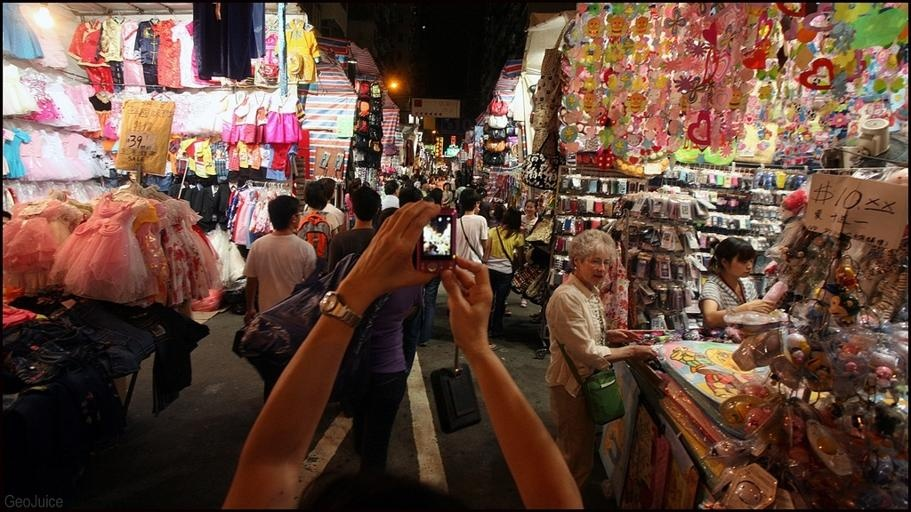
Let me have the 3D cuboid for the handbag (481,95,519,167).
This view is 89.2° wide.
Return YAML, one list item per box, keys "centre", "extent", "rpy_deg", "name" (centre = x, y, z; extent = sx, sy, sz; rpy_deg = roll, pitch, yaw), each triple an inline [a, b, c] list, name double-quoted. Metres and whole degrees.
- centre: [1.118, -3.093, 11.478]
  extent: [0.816, 1.625, 0.809]
  rpy_deg: [5, 13, 4]
  name: "handbag"

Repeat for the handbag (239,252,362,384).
- centre: [-1.047, 0.485, 3.389]
  extent: [1.153, 0.646, 0.424]
  rpy_deg: [-29, -24, -3]
  name: "handbag"

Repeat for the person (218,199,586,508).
- centre: [-0.331, 0.388, 2.363]
  extent: [1.231, 1.406, 0.560]
  rpy_deg: [0, -10, -6]
  name: "person"

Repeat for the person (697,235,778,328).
- centre: [2.384, 0.222, 3.988]
  extent: [0.438, 0.728, 1.294]
  rpy_deg: [12, 15, 30]
  name: "person"

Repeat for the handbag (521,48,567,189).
- centre: [1.372, -1.975, 6.782]
  extent: [0.470, 1.995, 0.892]
  rpy_deg: [2, 14, -12]
  name: "handbag"
